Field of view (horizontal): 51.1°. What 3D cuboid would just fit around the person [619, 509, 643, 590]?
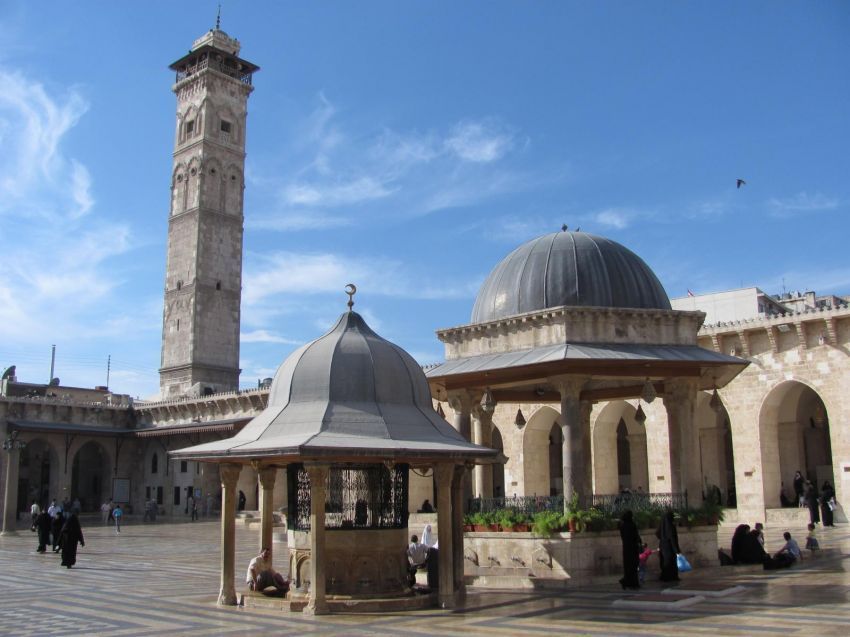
[{"bbox_3d":[4.327,4.846,18.679,0.539,1.526,0.387,11,-13,-33],"label":"person"}]

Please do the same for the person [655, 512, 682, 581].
[{"bbox_3d":[5.072,4.783,18.675,0.421,1.431,0.450,-6,-14,13],"label":"person"}]

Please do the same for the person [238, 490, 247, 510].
[{"bbox_3d":[-9.514,9.431,46.194,0.402,1.051,1.491,1,-14,-13],"label":"person"}]

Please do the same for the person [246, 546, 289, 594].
[{"bbox_3d":[-3.075,4.949,17.333,0.557,0.905,0.998,11,-19,-44],"label":"person"}]
